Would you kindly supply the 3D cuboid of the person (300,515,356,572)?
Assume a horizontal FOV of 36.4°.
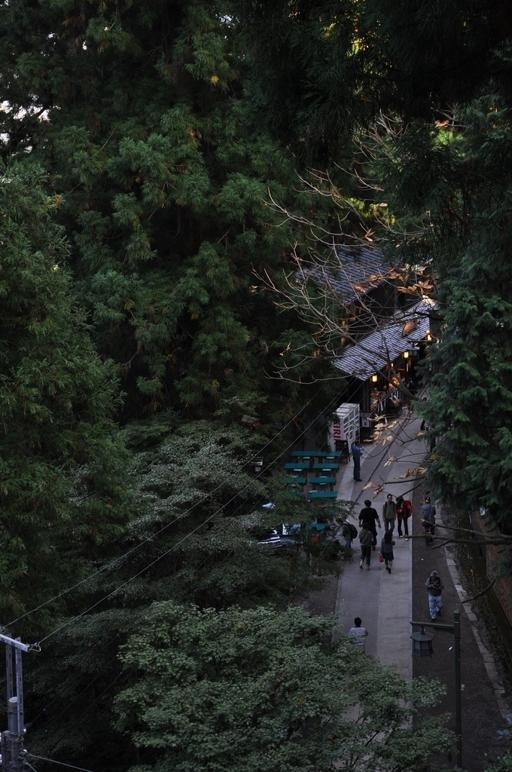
[{"bbox_3d":[1.707,3.633,18.432,0.845,1.005,2.729,-3,-9,6],"label":"person"}]
